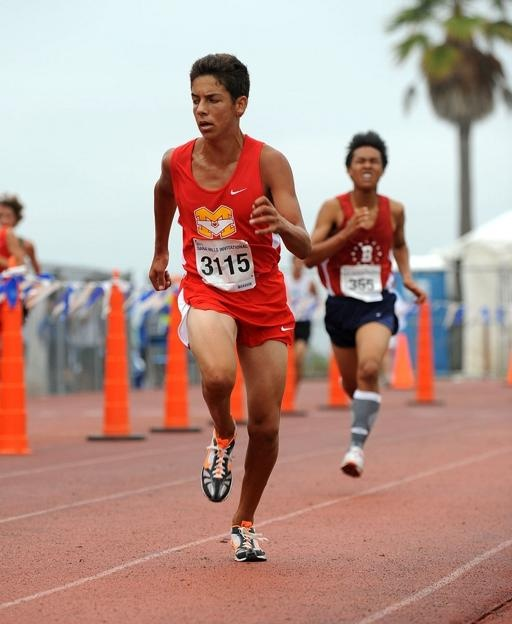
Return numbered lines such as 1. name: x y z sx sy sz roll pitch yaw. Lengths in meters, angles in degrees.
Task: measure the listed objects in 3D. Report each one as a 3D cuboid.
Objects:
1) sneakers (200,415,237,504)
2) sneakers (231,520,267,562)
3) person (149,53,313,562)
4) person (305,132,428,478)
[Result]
1. sneakers: -0.120 0.530 3.063 0.095 0.274 0.116 11 -39 -12
2. sneakers: -0.033 0.797 2.993 0.115 0.109 0.267 1 1 -13
3. person: -0.041 -0.002 2.840 0.457 1.409 0.636 -3 -1 -4
4. person: 0.555 -0.077 4.479 0.502 1.596 0.885 -3 -1 10
